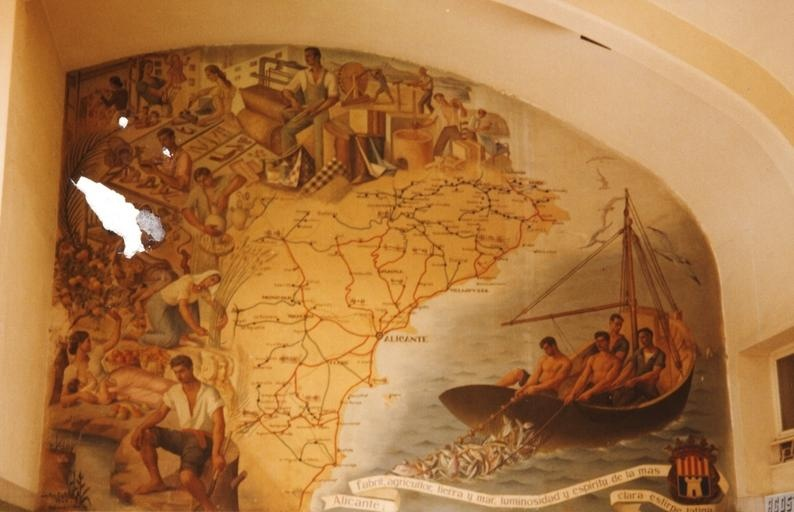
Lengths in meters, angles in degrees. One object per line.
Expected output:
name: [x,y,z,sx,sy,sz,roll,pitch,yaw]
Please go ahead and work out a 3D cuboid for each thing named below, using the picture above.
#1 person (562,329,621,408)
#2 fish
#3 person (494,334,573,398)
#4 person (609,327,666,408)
person: [2.256,1.264,20.286,0.456,0.844,0.344,1,-11,-6]
fish: [0.830,2.260,20.266,1.789,0.557,0.631,-19,-21,-9]
person: [1.633,1.283,20.241,0.970,0.617,0.415,1,6,-13]
person: [2.769,1.277,20.324,0.450,0.911,0.344,4,-18,-12]
